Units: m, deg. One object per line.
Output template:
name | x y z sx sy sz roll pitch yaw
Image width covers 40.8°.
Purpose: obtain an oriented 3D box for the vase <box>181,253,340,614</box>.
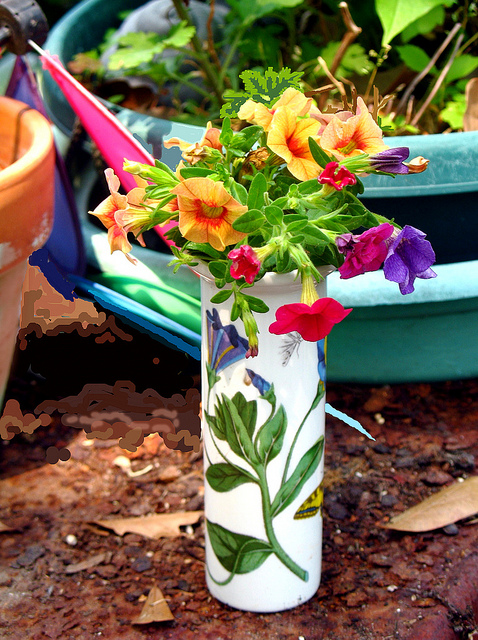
vase | 0.021 0.148 0.932 0.261 0.483 0.252 5 9 41
